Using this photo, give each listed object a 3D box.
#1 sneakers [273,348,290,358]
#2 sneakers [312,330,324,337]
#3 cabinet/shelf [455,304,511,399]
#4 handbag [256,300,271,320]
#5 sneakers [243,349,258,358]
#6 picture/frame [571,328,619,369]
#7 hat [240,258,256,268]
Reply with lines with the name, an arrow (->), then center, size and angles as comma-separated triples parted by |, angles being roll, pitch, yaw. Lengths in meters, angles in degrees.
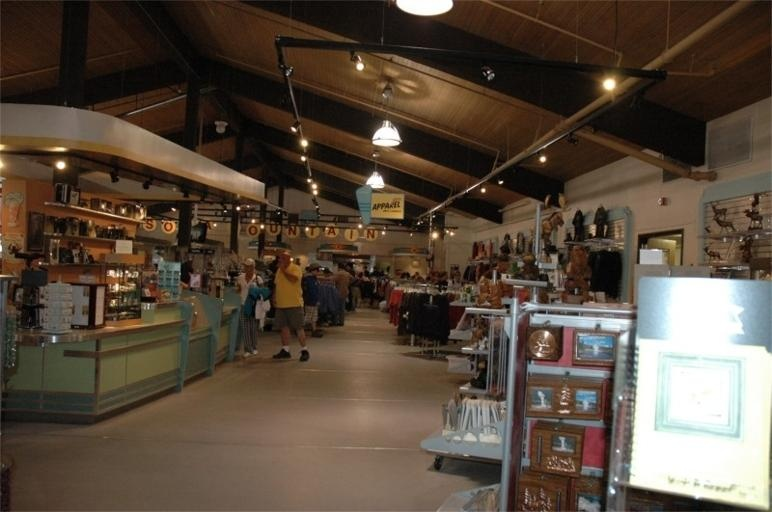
sneakers -> -1.831, 1.719, 9.977 | 0.283, 0.175, 0.145 | 3, -6, 0
sneakers -> -1.575, 1.805, 13.139 | 0.305, 0.233, 0.121 | 0, -1, -9
cabinet/shelf -> 1.094, 1.098, 6.454 | 0.339, 0.913, 0.970 | 13, -9, 15
handbag -> -2.065, 0.918, 9.607 | 0.255, 0.304, 0.129 | 7, -7, 9
sneakers -> -2.332, 1.674, 9.762 | 0.103, 0.103, 0.246 | -9, -12, 43
picture/frame -> 1.578, 0.693, 4.235 | 0.296, 0.261, 0.030 | 2, 0, 3
hat -> -2.378, 0.104, 9.895 | 0.166, 0.121, 0.223 | -1, -25, 11
